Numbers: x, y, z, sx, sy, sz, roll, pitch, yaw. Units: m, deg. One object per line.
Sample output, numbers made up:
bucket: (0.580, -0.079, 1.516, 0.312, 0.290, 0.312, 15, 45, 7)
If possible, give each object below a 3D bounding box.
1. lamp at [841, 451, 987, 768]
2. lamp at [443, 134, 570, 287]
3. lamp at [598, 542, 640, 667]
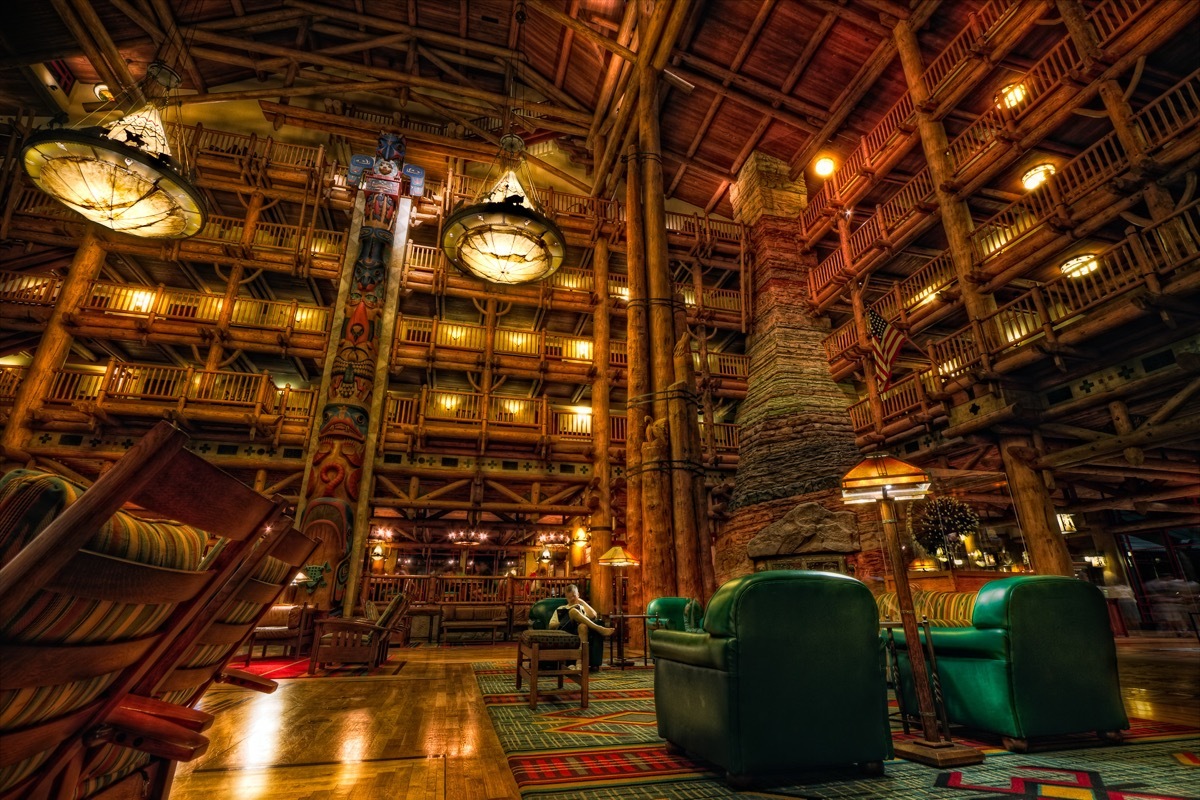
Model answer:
lamp: (3.267, 2.007, 7.119, 1.509, 2.686, 1.284, -1, -16, -15)
lamp: (-1.510, -3.350, 11.050, 1.930, 2.332, 1.619, 2, -8, -11)
lamp: (0.376, 3.561, 11.917, 1.000, 1.870, 0.814, 4, -27, -7)
